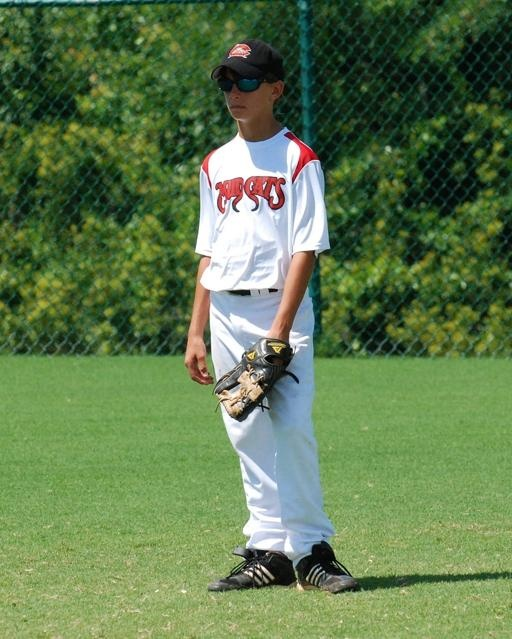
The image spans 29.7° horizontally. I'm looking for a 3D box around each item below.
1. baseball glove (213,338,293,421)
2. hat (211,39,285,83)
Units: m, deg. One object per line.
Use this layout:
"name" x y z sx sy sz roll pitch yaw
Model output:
"baseball glove" 0.000 0.151 2.732 0.158 0.090 0.235 12 -45 -44
"hat" -0.017 -0.768 2.873 0.175 0.123 0.243 10 9 41
